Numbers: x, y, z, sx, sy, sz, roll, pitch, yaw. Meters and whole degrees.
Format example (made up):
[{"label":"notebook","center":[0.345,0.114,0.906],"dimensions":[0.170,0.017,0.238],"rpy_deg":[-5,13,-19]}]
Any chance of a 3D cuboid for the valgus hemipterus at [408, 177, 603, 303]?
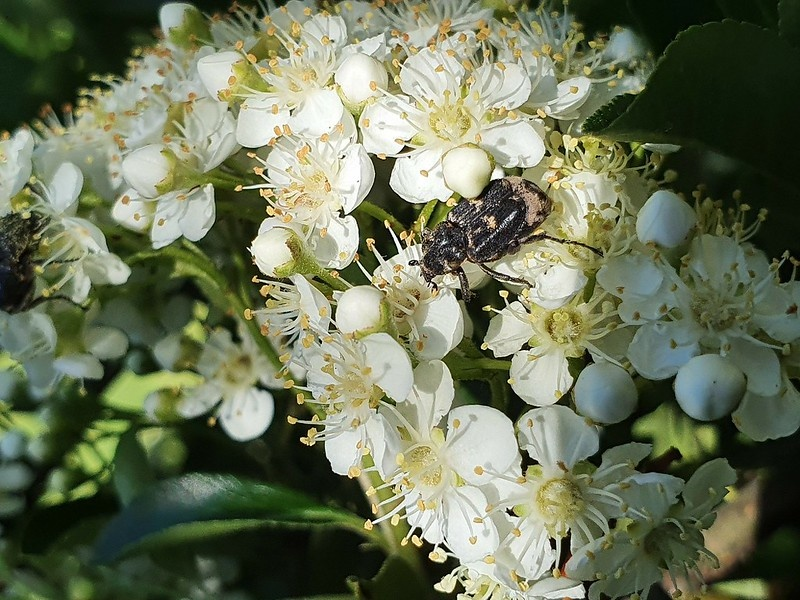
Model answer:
[{"label":"valgus hemipterus","center":[0.145,-0.087,1.345],"dimensions":[0.205,0.066,0.178],"rpy_deg":[-33,76,23]}]
